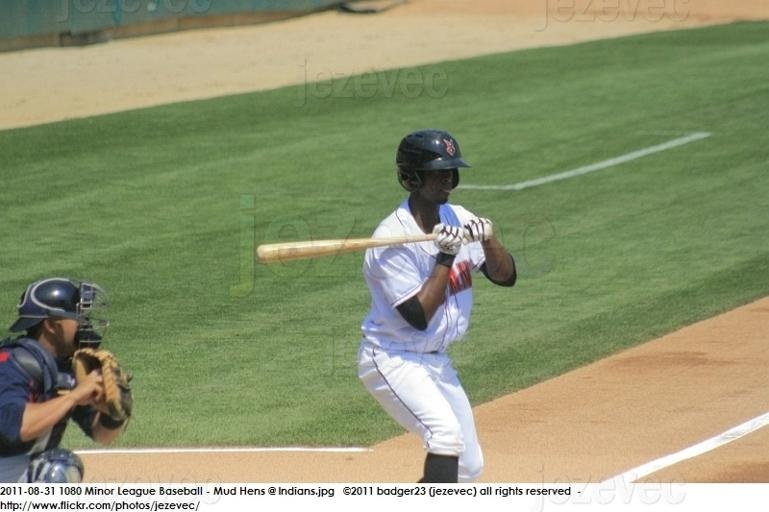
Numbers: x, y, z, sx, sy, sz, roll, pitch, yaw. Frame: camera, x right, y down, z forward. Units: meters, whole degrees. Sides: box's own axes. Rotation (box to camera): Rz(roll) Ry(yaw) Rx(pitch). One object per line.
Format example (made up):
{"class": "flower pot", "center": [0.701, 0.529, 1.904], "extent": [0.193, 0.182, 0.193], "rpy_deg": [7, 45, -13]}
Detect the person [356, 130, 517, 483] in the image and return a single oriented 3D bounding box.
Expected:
{"class": "person", "center": [0.395, 0.710, 18.567], "extent": [0.964, 3.618, 1.467], "rpy_deg": [3, 22, 34]}

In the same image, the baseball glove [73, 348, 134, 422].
{"class": "baseball glove", "center": [-2.568, 1.180, 18.335], "extent": [0.498, 0.654, 0.346], "rpy_deg": [-7, 18, 6]}
